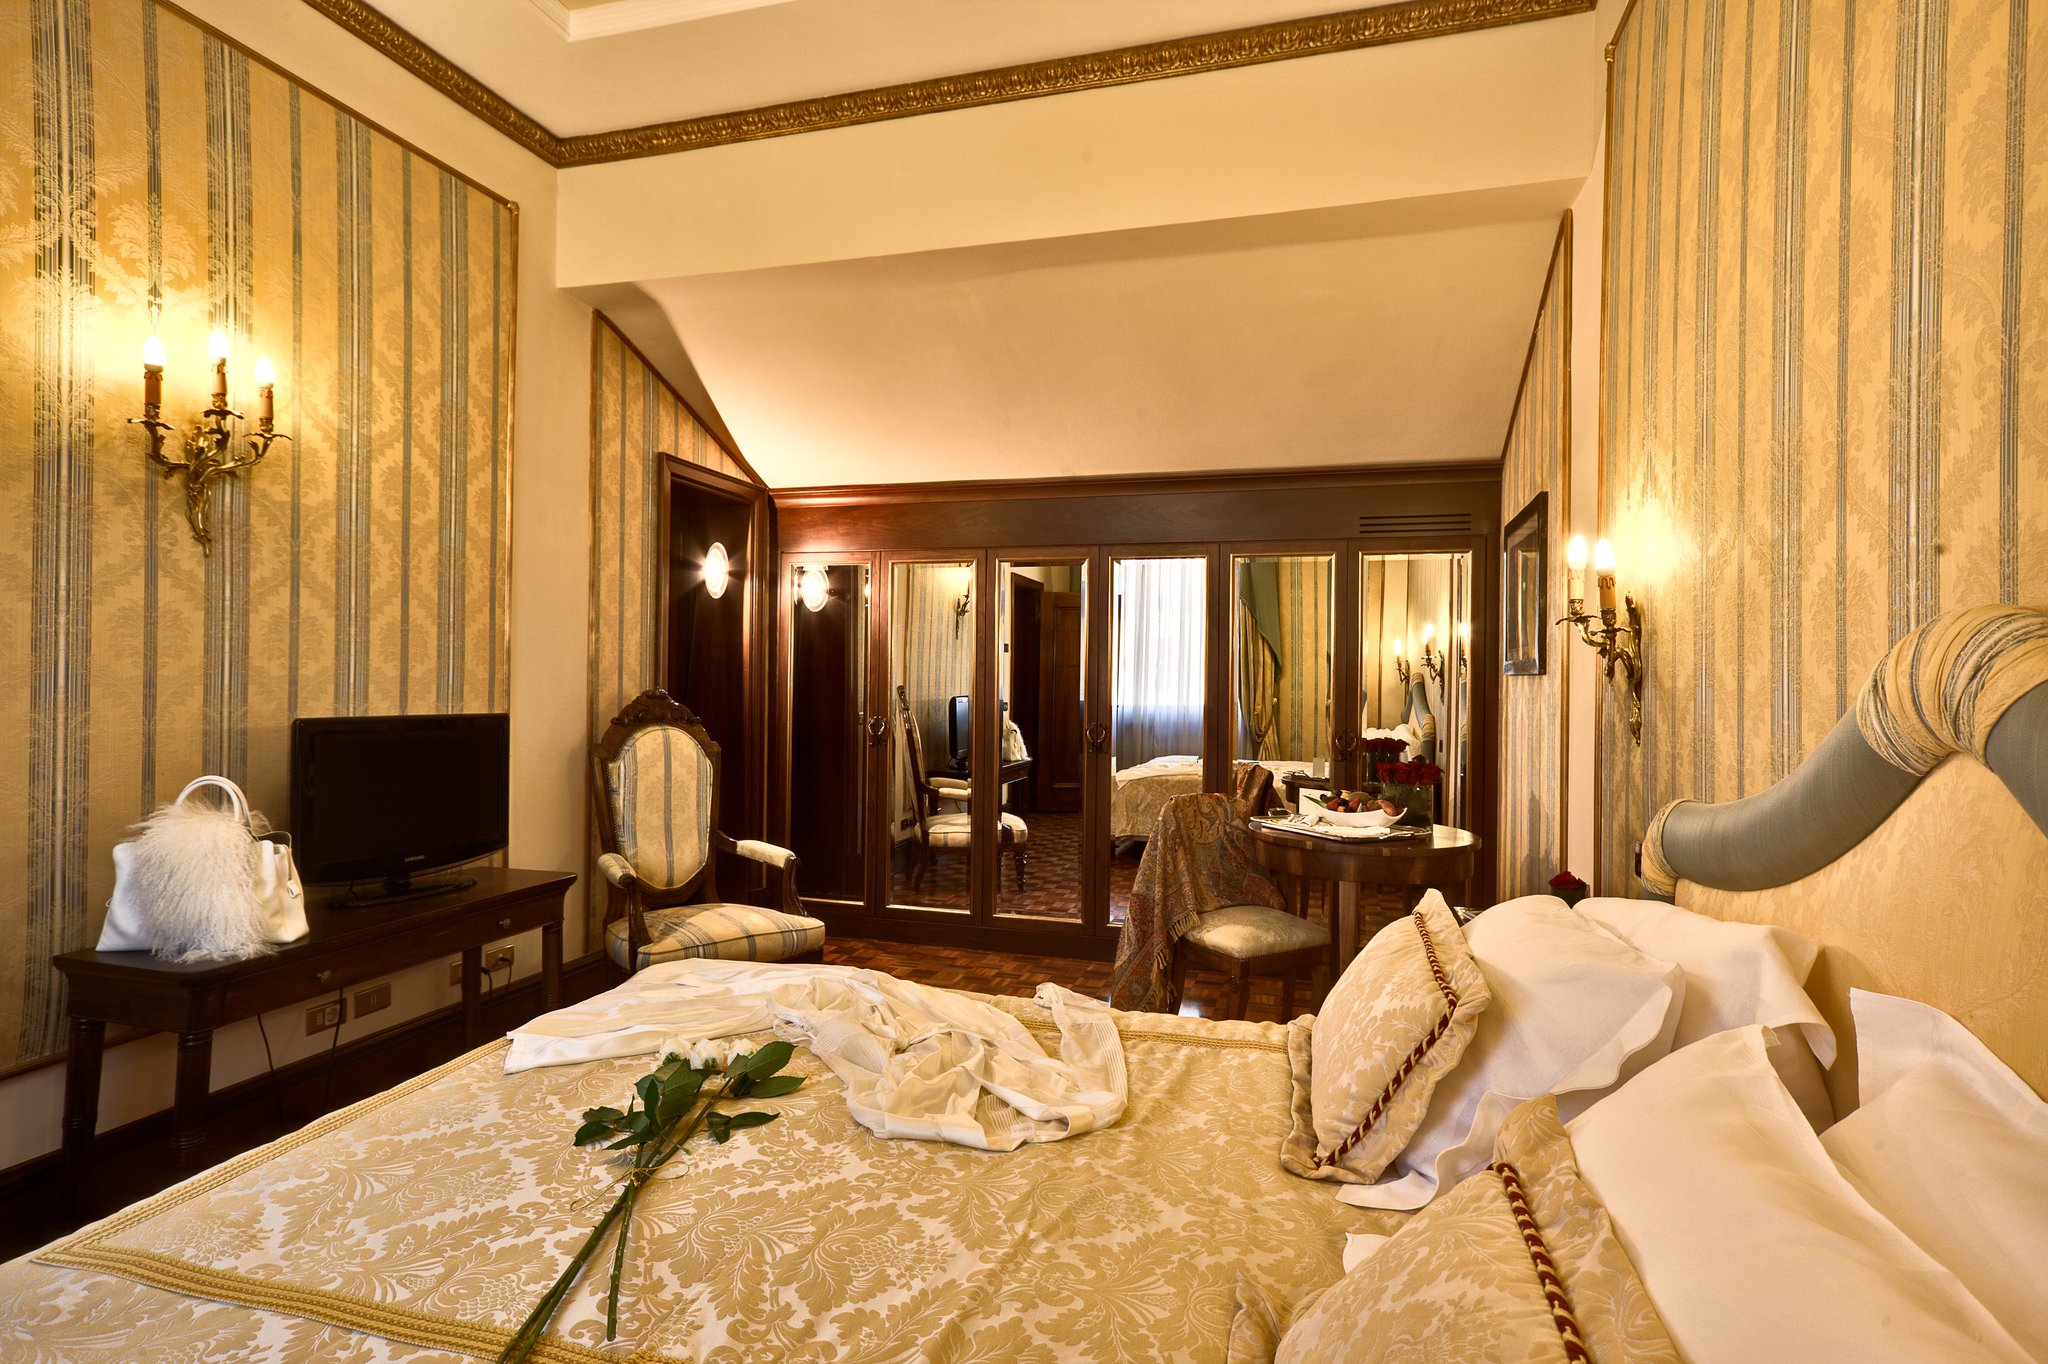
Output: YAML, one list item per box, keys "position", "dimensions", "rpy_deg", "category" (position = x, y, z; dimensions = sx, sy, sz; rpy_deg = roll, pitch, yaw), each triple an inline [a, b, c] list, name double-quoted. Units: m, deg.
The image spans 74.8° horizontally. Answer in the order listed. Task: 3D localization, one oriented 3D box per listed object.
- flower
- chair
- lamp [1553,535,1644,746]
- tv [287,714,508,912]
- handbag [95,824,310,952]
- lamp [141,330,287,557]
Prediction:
- position: [-0.754, 1.054, 2.797]
  dimensions: [0.257, 0.235, 0.574]
  rpy_deg: [8, 24, 1]
  category: "flower"
- position: [-1.259, 0.650, 5.211]
  dimensions: [0.712, 1.282, 0.765]
  rpy_deg: [-1, -1, -38]
  category: "chair"
- position: [1.644, -0.101, 3.775]
  dimensions: [0.157, 0.525, 0.132]
  rpy_deg: [5, 1, 28]
  category: "lamp"
- position: [-2.125, 0.444, 4.494]
  dimensions: [0.096, 0.494, 0.617]
  rpy_deg: [-6, -5, 26]
  category: "tv"
- position: [-2.369, 0.571, 3.868]
  dimensions: [0.517, 0.384, 0.196]
  rpy_deg: [-1, 29, -32]
  category: "handbag"
- position: [-2.490, -0.725, 4.170]
  dimensions: [0.425, 0.599, 0.299]
  rpy_deg: [-2, 2, -44]
  category: "lamp"
